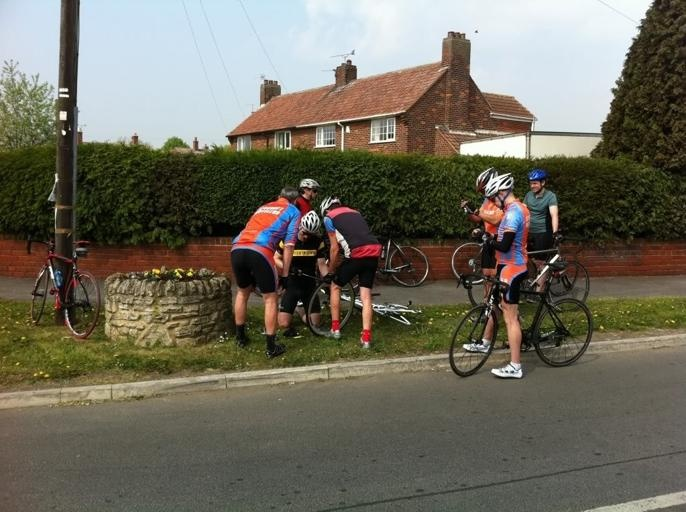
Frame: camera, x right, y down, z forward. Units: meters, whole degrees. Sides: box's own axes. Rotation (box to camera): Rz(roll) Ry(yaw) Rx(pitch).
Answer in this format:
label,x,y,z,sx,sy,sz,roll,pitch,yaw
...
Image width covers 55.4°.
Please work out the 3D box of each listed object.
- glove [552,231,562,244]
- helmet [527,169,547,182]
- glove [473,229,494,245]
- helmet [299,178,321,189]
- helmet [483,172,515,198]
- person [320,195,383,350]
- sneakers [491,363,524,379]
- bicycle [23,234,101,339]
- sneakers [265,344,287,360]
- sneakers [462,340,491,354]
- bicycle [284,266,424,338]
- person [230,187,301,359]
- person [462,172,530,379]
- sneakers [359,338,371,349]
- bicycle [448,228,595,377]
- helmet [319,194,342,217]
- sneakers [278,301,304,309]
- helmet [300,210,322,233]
label,x,y,z,sx,sy,sz,roll,pitch,yaw
glove,3.934,-0.365,12.025,0.153,0.180,0.385,-2,28,18
helmet,3.605,-1.520,12.063,0.234,0.160,0.320,8,20,26
glove,2.096,-0.290,9.771,0.322,0.164,0.239,5,10,-34
helmet,-0.513,-1.132,10.219,0.279,0.155,0.208,-6,14,-8
helmet,2.137,-0.990,8.938,0.374,0.159,0.276,-32,24,-17
person,0.128,0.242,9.928,0.859,2.147,1.283,-1,12,-2
sneakers,2.212,1.535,8.875,0.447,0.252,0.175,2,1,6
bicycle,-4.424,0.504,10.446,0.775,1.359,1.835,-11,17,-40
sneakers,-0.941,1.327,9.237,0.117,0.154,0.320,6,15,27
sneakers,1.821,1.231,8.878,0.431,0.222,0.154,2,8,-9
bicycle,0.165,0.818,11.075,1.967,1.350,1.017,5,-5,-16
person,-1.107,0.264,9.468,0.852,2.087,0.837,7,14,33
person,2.211,0.275,8.858,0.562,2.673,0.763,1,12,9
sneakers,0.333,1.261,9.612,0.150,0.135,0.259,0,13,1
bicycle,2.351,0.817,9.720,2.292,1.616,1.172,-8,10,-18
helmet,-0.220,-0.796,10.262,0.384,0.405,0.303,6,3,43
sneakers,-0.868,0.774,10.495,0.246,0.094,0.198,-2,-29,15
helmet,-0.518,-0.510,10.103,0.283,0.359,0.325,-1,13,-5
